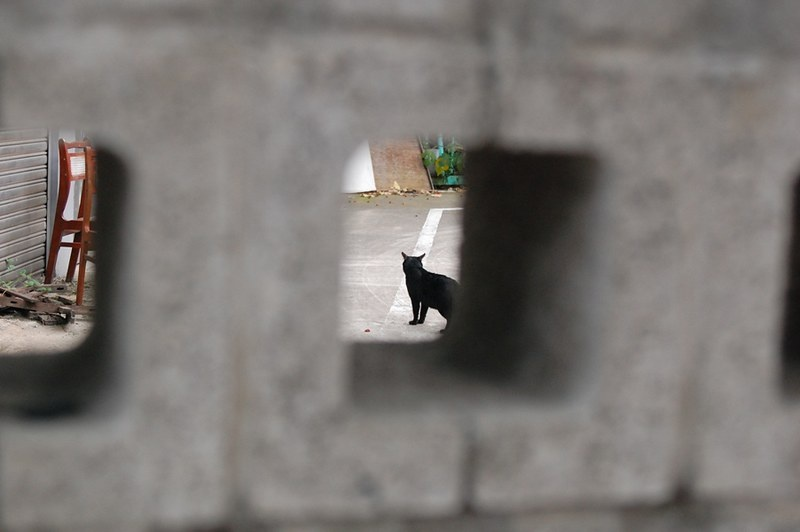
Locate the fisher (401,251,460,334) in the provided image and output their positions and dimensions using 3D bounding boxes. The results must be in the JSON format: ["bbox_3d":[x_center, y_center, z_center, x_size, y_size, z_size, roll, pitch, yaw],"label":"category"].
[{"bbox_3d":[0.242,0.227,7.137,0.200,0.495,0.870,-7,17,-30],"label":"fisher"}]
